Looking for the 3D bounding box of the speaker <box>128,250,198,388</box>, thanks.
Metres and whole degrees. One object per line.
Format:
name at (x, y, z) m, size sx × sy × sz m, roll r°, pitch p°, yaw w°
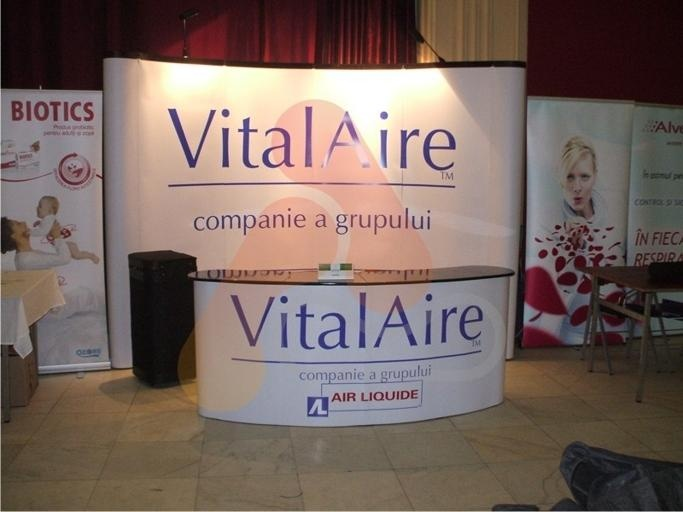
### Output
speaker at (-1.682, 0.584, 5.546) m, size 0.653 × 1.178 × 0.409 m, roll -1°, pitch 12°, yaw -6°
